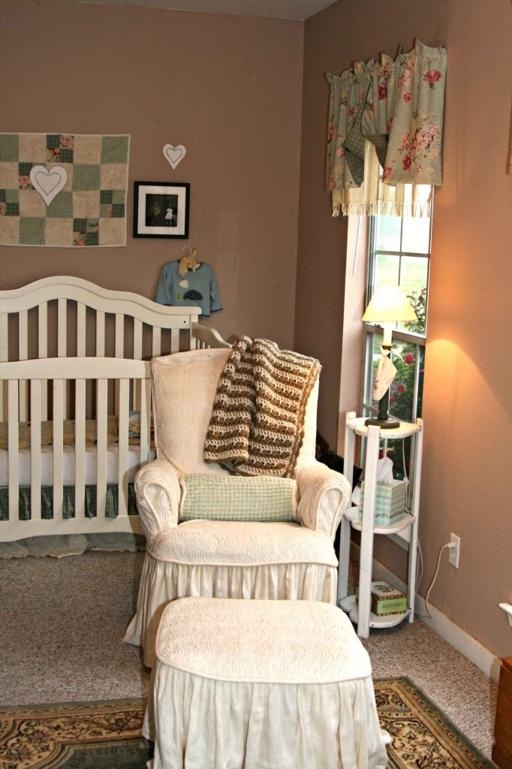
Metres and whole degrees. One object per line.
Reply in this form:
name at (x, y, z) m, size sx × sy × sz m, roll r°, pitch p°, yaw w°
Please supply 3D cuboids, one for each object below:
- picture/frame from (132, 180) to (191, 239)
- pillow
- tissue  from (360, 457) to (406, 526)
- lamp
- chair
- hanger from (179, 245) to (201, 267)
picture/frame at (-0.530, -0.964, 3.737) m, size 0.331 × 0.332 × 0.025 m, roll 0°, pitch 11°, yaw -10°
pillow at (-0.057, 0.395, 2.356) m, size 0.348 × 0.168 × 0.148 m, roll 2°, pitch -18°, yaw -8°
tissue  at (0.477, 0.379, 2.475) m, size 0.092 × 0.224 × 0.193 m, roll 5°, pitch 7°, yaw 23°
lamp at (0.487, -0.114, 2.586) m, size 0.177 × 0.531 × 0.587 m, roll 3°, pitch 7°, yaw 11°
chair at (-0.109, 0.407, 2.462) m, size 0.950 × 1.233 × 0.824 m, roll 1°, pitch -5°, yaw -3°
hanger at (-0.368, -0.705, 3.814) m, size 0.116 × 0.136 × 0.075 m, roll 1°, pitch 7°, yaw -12°
